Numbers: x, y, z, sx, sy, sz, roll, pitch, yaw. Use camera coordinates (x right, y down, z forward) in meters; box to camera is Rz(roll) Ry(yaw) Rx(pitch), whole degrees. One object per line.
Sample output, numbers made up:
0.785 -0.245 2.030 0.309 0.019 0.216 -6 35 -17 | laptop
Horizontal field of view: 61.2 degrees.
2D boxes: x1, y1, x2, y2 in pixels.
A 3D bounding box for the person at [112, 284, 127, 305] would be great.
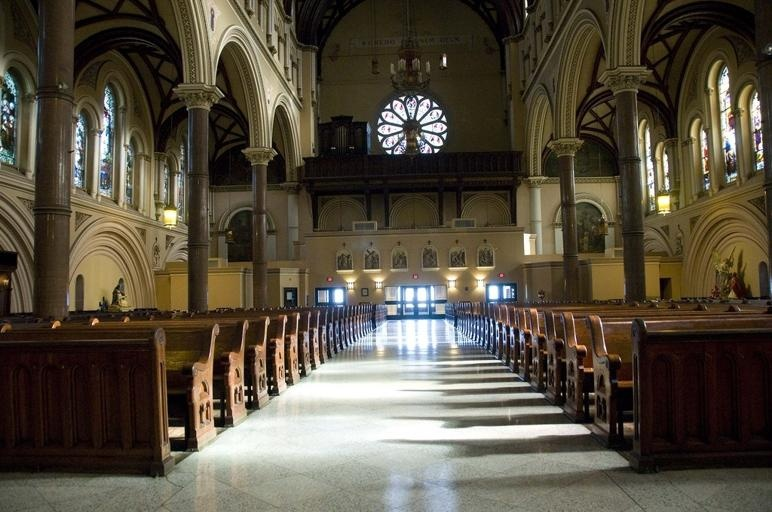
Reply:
-10.035 1.403 24.450 0.572 0.898 0.595 -1 2 -16 | person
